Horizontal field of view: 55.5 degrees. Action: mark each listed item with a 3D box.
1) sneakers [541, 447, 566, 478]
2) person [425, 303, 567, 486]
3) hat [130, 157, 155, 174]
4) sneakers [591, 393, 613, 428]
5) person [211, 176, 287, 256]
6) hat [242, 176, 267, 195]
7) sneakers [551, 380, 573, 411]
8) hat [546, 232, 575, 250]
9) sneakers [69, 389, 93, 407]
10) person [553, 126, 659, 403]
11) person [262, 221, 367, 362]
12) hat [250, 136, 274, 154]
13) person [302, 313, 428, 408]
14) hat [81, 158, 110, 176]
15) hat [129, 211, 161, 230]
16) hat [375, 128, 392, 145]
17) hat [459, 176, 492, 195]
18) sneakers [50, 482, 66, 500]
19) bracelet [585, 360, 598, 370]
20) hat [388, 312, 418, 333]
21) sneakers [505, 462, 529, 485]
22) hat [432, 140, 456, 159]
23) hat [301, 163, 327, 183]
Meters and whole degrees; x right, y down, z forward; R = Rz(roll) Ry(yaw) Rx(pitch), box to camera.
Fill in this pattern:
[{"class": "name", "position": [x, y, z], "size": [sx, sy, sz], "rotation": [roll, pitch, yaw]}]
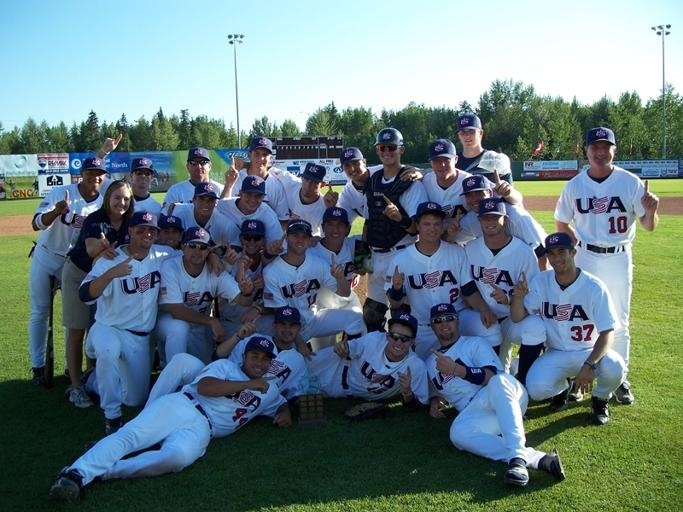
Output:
[{"class": "sneakers", "position": [2.153, 2.147, 6.687], "size": [0.155, 0.399, 0.145], "rotation": [-9, 17, 17]}, {"class": "person", "position": [1.651, 1.458, 7.377], "size": [0.995, 1.503, 1.945], "rotation": [-3, 8, -9]}, {"class": "hat", "position": [-3.016, -1.378, 9.869], "size": [0.307, 0.237, 0.378], "rotation": [0, 8, 10]}, {"class": "sneakers", "position": [3.067, 1.805, 7.714], "size": [0.205, 0.282, 0.321], "rotation": [1, 9, 21]}, {"class": "person", "position": [-1.356, -0.551, 9.463], "size": [1.185, 0.760, 1.179], "rotation": [2, -26, -19]}, {"class": "hat", "position": [-1.269, -1.009, 9.316], "size": [0.350, 0.269, 0.294], "rotation": [-4, 8, -14]}, {"class": "sneakers", "position": [2.699, 1.720, 8.015], "size": [0.394, 0.279, 0.131], "rotation": [-40, 32, -20]}, {"class": "hat", "position": [2.608, -0.170, 7.798], "size": [0.361, 0.212, 0.293], "rotation": [-5, 9, -22]}, {"class": "sneakers", "position": [-3.390, 1.843, 8.385], "size": [0.329, 0.159, 0.170], "rotation": [16, 25, 19]}, {"class": "person", "position": [3.542, 0.138, 8.748], "size": [1.439, 3.726, 1.086], "rotation": [2, 3, 39]}, {"class": "person", "position": [-0.416, 0.504, 9.036], "size": [1.226, 1.586, 0.873], "rotation": [-21, 30, -32]}, {"class": "hat", "position": [-1.231, -1.770, 10.272], "size": [0.334, 0.300, 0.559], "rotation": [5, 11, -7]}, {"class": "person", "position": [0.418, 1.414, 8.254], "size": [1.000, 0.683, 1.449], "rotation": [20, -19, -8]}, {"class": "hat", "position": [-3.411, -1.235, 8.955], "size": [0.317, 0.242, 0.297], "rotation": [-6, 9, -28]}, {"class": "hat", "position": [-2.474, -0.440, 8.135], "size": [0.264, 0.189, 0.351], "rotation": [0, -1, -19]}, {"class": "hat", "position": [0.619, -1.721, 9.313], "size": [0.245, 0.223, 0.311], "rotation": [-1, 8, 5]}, {"class": "hat", "position": [1.794, -0.946, 8.668], "size": [0.355, 0.249, 0.272], "rotation": [-2, 8, -1]}, {"class": "sneakers", "position": [-2.827, 2.337, 6.523], "size": [0.153, 0.197, 0.094], "rotation": [-1, 5, 6]}, {"class": "bracelet", "position": [2.903, 1.269, 7.602], "size": [0.112, 0.122, 0.126], "rotation": [-4, 23, 45]}, {"class": "hat", "position": [0.807, 0.834, 8.145], "size": [0.330, 0.248, 0.477], "rotation": [6, -18, 13]}, {"class": "sneakers", "position": [1.789, 2.211, 6.649], "size": [0.243, 0.219, 0.299], "rotation": [1, 9, 18]}, {"class": "hat", "position": [1.408, -1.512, 9.190], "size": [0.231, 0.198, 0.333], "rotation": [-1, 10, 6]}, {"class": "hat", "position": [-0.423, -1.268, 9.909], "size": [0.365, 0.282, 0.343], "rotation": [-2, 8, -4]}]
